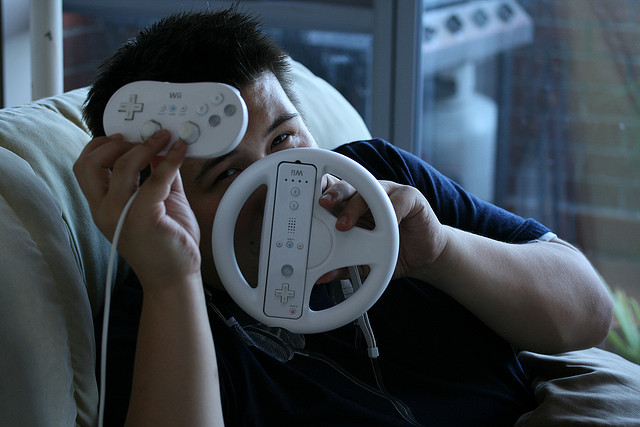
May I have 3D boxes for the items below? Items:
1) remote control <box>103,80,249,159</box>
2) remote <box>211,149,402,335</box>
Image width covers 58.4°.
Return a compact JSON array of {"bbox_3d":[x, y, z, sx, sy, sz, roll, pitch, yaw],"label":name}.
[{"bbox_3d":[-0.246,-0.159,0.970,0.252,0.124,0.062,4,19,14],"label":"remote control"},{"bbox_3d":[-0.038,0.048,1.013,0.312,0.367,0.065,0,1,2],"label":"remote"}]
